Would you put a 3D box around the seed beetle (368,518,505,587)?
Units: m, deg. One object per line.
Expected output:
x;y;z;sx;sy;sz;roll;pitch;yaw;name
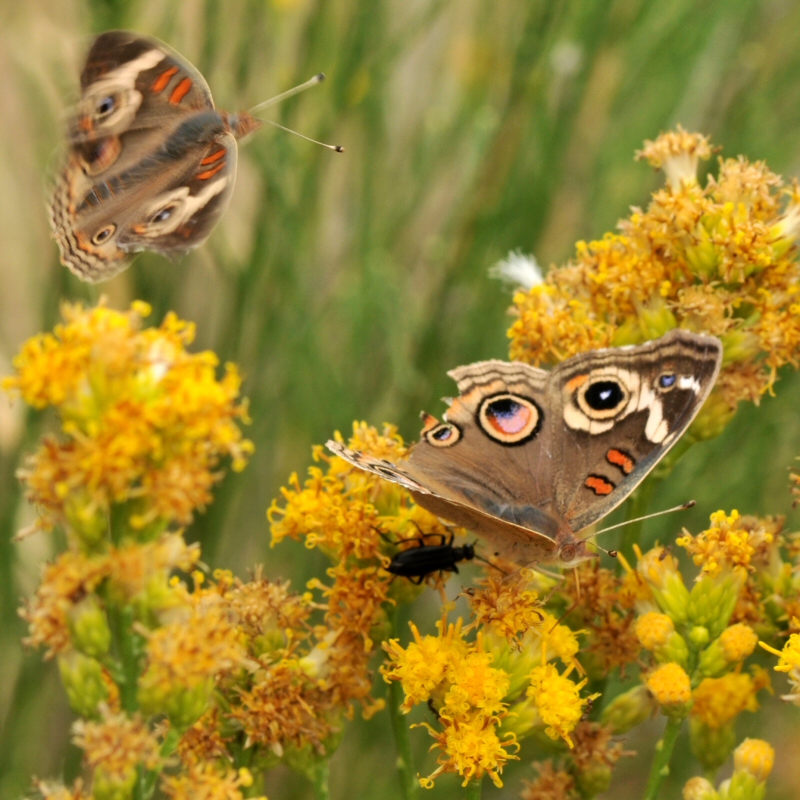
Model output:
0.051;0.230;1.889;0.156;0.042;0.113;-3;17;-10;seed beetle

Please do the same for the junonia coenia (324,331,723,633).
0.202;0.024;1.873;0.385;0.241;0.460;19;22;32;junonia coenia
